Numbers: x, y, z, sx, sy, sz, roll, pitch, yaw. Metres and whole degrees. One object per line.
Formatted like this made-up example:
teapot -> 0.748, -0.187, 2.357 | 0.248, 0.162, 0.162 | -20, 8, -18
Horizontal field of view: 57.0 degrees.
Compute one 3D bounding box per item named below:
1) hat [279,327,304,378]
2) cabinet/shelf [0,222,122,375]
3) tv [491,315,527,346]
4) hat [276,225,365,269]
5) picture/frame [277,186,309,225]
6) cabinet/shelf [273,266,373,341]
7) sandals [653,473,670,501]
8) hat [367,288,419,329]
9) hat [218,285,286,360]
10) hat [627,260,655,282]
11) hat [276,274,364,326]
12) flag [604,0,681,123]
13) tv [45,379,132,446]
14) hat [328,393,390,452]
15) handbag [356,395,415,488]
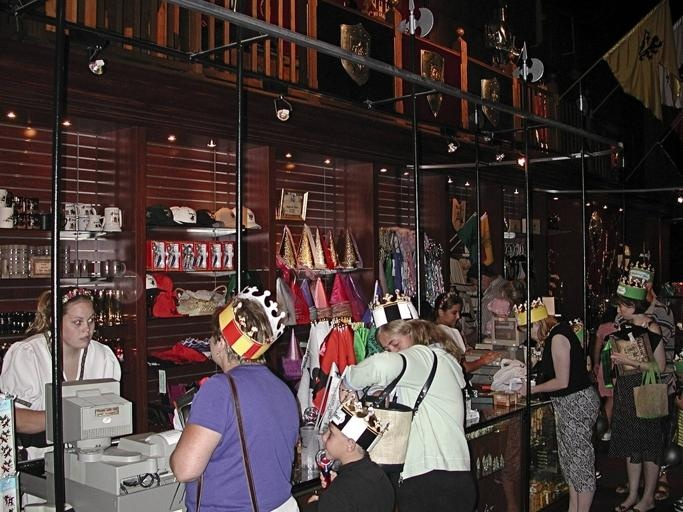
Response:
hat -> -0.483, 0.970, 6.245 | 0.233, 0.460, 0.250 | 2, 1, 13
cabinet/shelf -> -2.092, 0.316, 4.635 | 0.298, 1.159, 1.081 | -6, -7, 28
tv -> 1.575, 0.700, 6.030 | 0.236, 0.335, 0.300 | -1, -1, -37
hat -> -0.288, -0.046, 7.016 | 0.366, 0.604, 1.274 | -9, -11, 39
picture/frame -> -0.518, -0.546, 6.769 | 0.294, 0.334, 0.199 | 4, 1, -34
cabinet/shelf -> -0.264, 0.237, 6.685 | 0.934, 0.723, 0.569 | -11, 13, -30
sandals -> 3.160, 2.268, 6.225 | 0.111, 0.090, 0.330 | -19, 5, 29
hat -> 0.341, 0.340, 4.101 | 0.294, 0.237, 0.323 | -15, -2, 31
hat -> -0.460, 0.338, 3.232 | 0.330, 0.372, 0.237 | -1, -6, -10
hat -> 3.185, 0.157, 6.698 | 0.256, 0.191, 0.374 | 5, 11, 31
hat -> -0.300, 0.451, 6.645 | 1.002, 0.622, 0.369 | -4, -2, -37
flag -> 3.760, -2.530, 7.887 | 1.186, 1.583, 0.525 | 3, -8, -43
tv -> -1.414, 0.892, 3.513 | 0.445, 0.383, 0.475 | 1, -9, -25
hat -> 0.086, 0.875, 3.278 | 0.261, 0.171, 0.259 | 43, -4, -11
handbag -> 0.268, 1.017, 3.625 | 0.217, 0.403, 0.278 | 3, 3, -19
